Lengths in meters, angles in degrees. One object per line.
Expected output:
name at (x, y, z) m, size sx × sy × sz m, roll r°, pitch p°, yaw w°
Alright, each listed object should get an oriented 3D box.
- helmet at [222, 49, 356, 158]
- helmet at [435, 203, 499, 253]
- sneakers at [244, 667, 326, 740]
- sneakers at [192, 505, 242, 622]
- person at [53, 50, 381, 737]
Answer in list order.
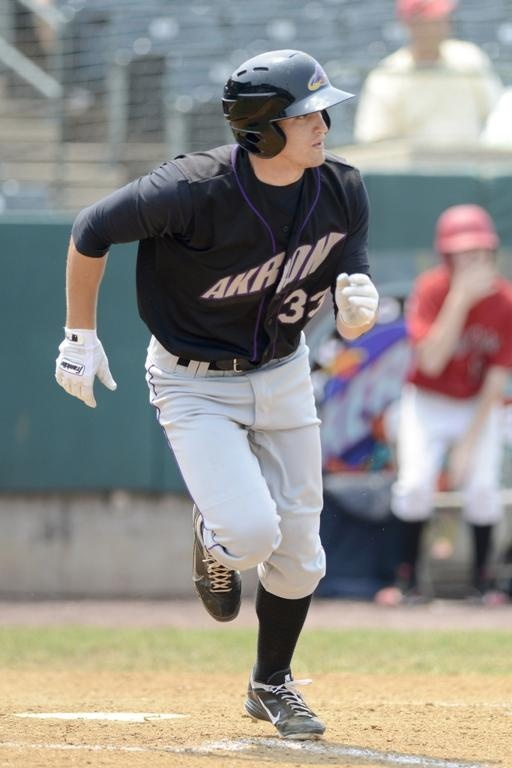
helmet at (0.081, -0.710, 2.840) m, size 0.329 × 0.222 × 0.238 m, roll -3°, pitch 28°, yaw 1°
helmet at (0.865, -0.640, 4.778) m, size 0.251 × 0.154 × 0.231 m, roll -3°, pitch -7°, yaw -17°
sneakers at (0.081, 0.872, 3.102) m, size 0.120 × 0.137 × 0.340 m, roll -1°, pitch 5°, yaw -31°
sneakers at (-0.108, 0.508, 3.128) m, size 0.129 × 0.321 × 0.151 m, roll -11°, pitch 4°, yaw -19°
person at (-0.131, 0.041, 2.953) m, size 0.780 × 1.788 × 0.399 m, roll 5°, pitch 10°, yaw -1°
